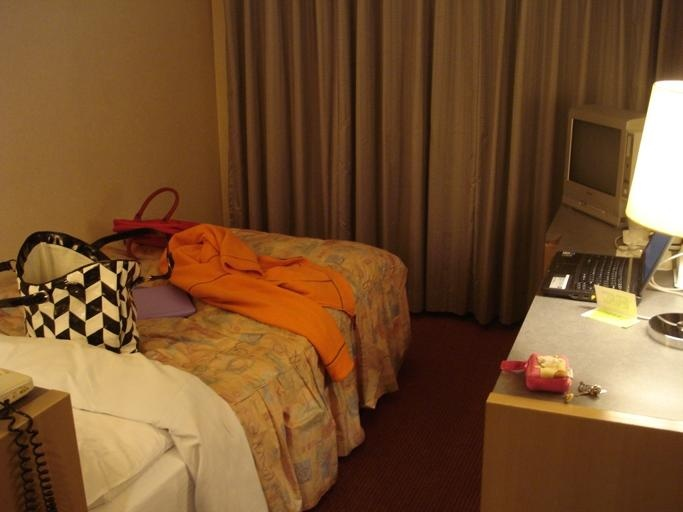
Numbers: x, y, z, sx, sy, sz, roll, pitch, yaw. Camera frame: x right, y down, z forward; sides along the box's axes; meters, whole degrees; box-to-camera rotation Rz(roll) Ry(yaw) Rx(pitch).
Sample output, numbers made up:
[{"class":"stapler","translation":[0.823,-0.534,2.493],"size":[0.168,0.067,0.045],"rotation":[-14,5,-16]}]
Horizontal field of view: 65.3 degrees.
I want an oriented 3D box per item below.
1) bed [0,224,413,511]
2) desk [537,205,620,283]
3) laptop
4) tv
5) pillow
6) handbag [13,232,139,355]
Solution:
[{"class":"bed","translation":[-0.456,0.419,1.955],"size":[0.774,0.243,0.831],"rotation":[4,27,10]},{"class":"desk","translation":[1.175,-0.115,2.613],"size":[0.344,0.243,0.372],"rotation":[15,48,25]},{"class":"laptop","translation":[0.992,0.071,2.072],"size":[0.313,0.239,0.363],"rotation":[11,28,21]},{"class":"tv","translation":[1.454,-0.499,2.796],"size":[0.332,0.537,0.516],"rotation":[-10,24,-7]},{"class":"pillow","translation":[-0.641,0.613,1.542],"size":[0.230,0.075,0.228],"rotation":[19,28,29]},{"class":"handbag","translation":[-0.965,0.132,1.937],"size":[0.418,0.394,0.359],"rotation":[-2,13,-21]}]
